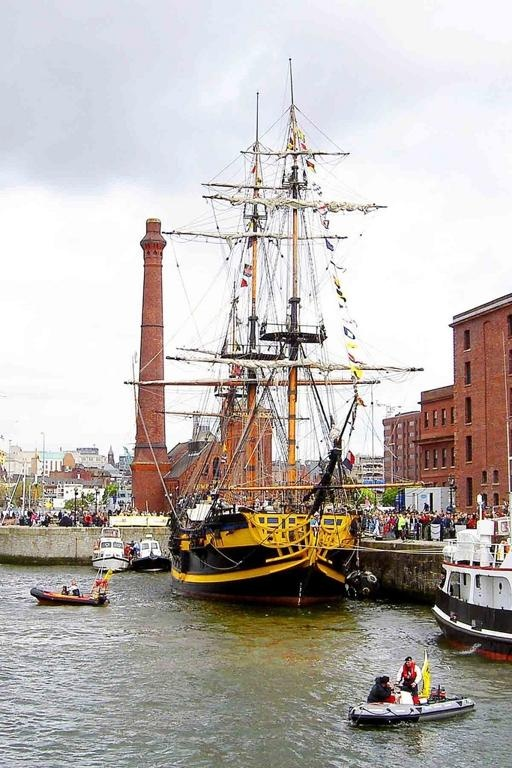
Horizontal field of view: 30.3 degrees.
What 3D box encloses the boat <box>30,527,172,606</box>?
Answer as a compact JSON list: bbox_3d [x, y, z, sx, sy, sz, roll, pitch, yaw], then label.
[{"bbox_3d":[-10.023,11.479,59.265,3.847,3.578,6.978,1,-7,-8],"label":"boat"}]
